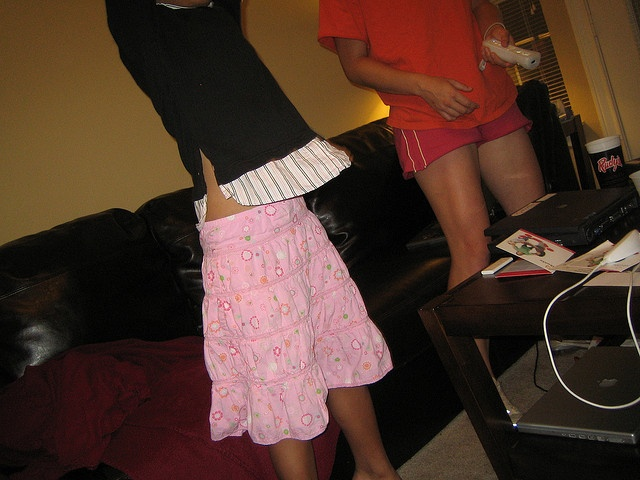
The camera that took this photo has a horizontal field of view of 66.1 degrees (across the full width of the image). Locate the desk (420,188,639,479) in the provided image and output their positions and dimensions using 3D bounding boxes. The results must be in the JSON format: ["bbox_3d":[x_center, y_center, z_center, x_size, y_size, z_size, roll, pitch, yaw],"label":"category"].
[{"bbox_3d":[0.408,0.235,1.216,0.427,0.492,0.462,-11,30,6],"label":"desk"}]

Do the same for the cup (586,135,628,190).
[{"bbox_3d":[0.973,-0.250,1.665,0.105,0.176,0.158,-2,28,40],"label":"cup"}]
